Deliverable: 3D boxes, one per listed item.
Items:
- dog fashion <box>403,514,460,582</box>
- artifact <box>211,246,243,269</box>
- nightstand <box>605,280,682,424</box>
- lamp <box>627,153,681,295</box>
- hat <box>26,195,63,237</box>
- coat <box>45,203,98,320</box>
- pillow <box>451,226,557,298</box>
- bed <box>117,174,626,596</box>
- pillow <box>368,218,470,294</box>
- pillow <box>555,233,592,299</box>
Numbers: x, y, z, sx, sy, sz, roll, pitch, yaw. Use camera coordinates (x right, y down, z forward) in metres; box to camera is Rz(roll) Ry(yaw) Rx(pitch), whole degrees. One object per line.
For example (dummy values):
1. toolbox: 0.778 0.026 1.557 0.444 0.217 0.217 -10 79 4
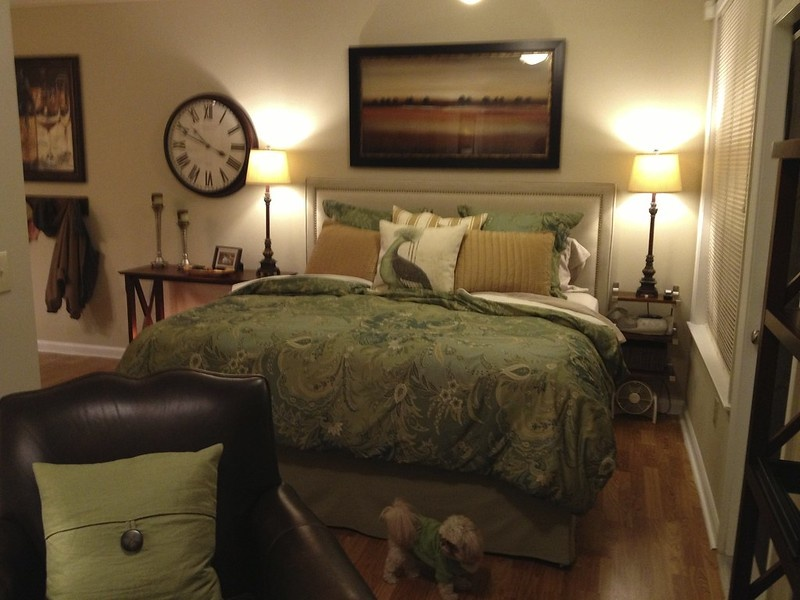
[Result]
1. dog fashion: 0.148 1.067 2.691 0.218 0.283 0.157 2 6 2
2. artifact: -1.364 -0.341 5.096 0.162 0.180 0.095 1 -12 7
3. nightstand: 1.636 0.325 4.331 0.455 0.906 0.354 8 16 37
4. lamp: 1.678 -0.518 4.297 0.325 0.995 0.335 4 6 24
5. hat: -2.973 -0.723 5.425 0.287 0.426 0.150 3 2 5
6. coat: -2.689 -0.321 5.325 0.369 1.005 0.211 6 23 -23
7. pillow: 0.650 -0.243 3.986 0.562 0.392 0.160 -1 -10 7
8. bed: 0.261 0.396 3.768 1.898 1.347 1.913 3 14 15
9. pillow: 0.104 -0.263 4.075 0.576 0.509 0.208 6 7 19
10. pillow: 1.164 -0.229 4.367 0.260 0.402 0.126 15 6 19
